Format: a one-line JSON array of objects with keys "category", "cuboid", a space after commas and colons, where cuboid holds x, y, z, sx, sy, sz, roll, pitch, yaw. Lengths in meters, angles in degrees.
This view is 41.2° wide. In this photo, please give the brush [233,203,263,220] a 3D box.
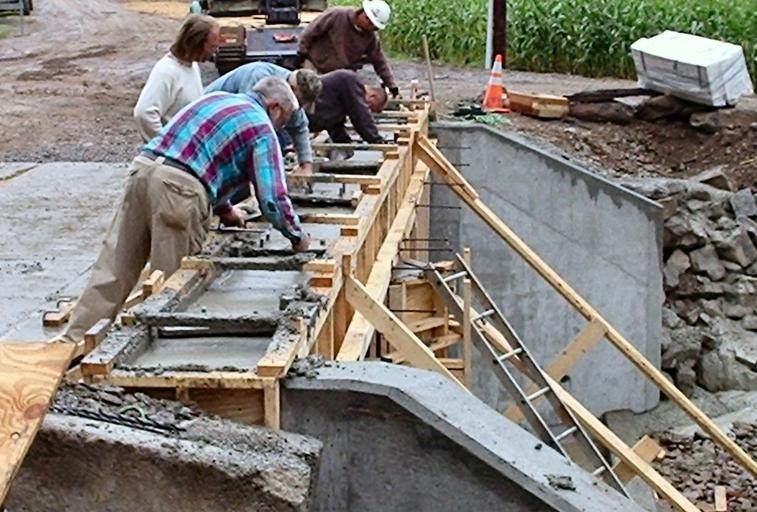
[{"category": "brush", "cuboid": [-1.301, -0.446, 10.123, 0.202, 0.056, 0.182, 24, 24, 21]}]

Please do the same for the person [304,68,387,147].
[{"category": "person", "cuboid": [-0.378, -1.768, 11.291, 1.055, 0.620, 0.568, 3, 40, 2]}]

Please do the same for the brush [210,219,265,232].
[{"category": "brush", "cuboid": [-1.347, -0.288, 9.678, 0.348, 0.040, 0.118, -3, 47, 3]}]

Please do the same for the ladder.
[{"category": "ladder", "cuboid": [1.667, 1.261, 10.568, 0.556, 0.306, 3.888, -14, 59, -35]}]

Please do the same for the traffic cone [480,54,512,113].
[{"category": "traffic cone", "cuboid": [1.840, -2.732, 15.493, 0.407, 0.891, 0.874, 4, 26, 6]}]
